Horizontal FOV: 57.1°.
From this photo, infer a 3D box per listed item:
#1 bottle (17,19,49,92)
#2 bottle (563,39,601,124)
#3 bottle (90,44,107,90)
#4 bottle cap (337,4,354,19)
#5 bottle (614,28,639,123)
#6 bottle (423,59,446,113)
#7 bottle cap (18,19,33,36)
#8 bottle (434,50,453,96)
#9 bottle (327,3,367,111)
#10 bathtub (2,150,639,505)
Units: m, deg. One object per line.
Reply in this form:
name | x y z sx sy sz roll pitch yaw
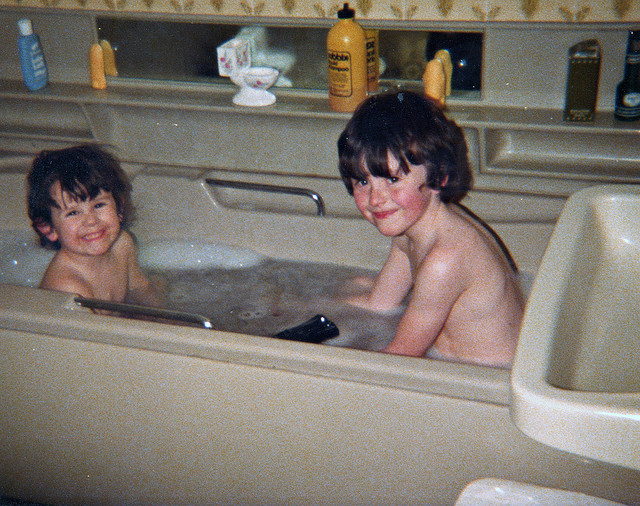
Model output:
bottle | -0.951 -0.663 1.973 0.078 0.227 0.066 -11 24 -25
bottle | 0.721 -0.456 1.625 0.099 0.216 0.088 6 -4 7
bottle | -0.738 -0.624 1.969 0.054 0.140 0.076 -8 22 -18
bottle cap | 0.072 -0.675 1.652 0.045 0.040 0.044 -1 35 3
bottle | 0.826 -0.472 1.563 0.067 0.237 0.076 9 23 23
bottle | 0.317 -0.466 1.639 0.064 0.137 0.148 3 21 11
bottle cap | -0.953 -0.739 1.924 0.051 0.055 0.050 -1 20 -1
bottle | 0.366 -0.528 1.706 0.038 0.109 0.058 -15 9 -39
bottle | 0.081 -0.553 1.692 0.114 0.277 0.057 0 21 1
bathtub | -0.041 0.185 1.513 1.260 0.577 1.081 2 21 7
